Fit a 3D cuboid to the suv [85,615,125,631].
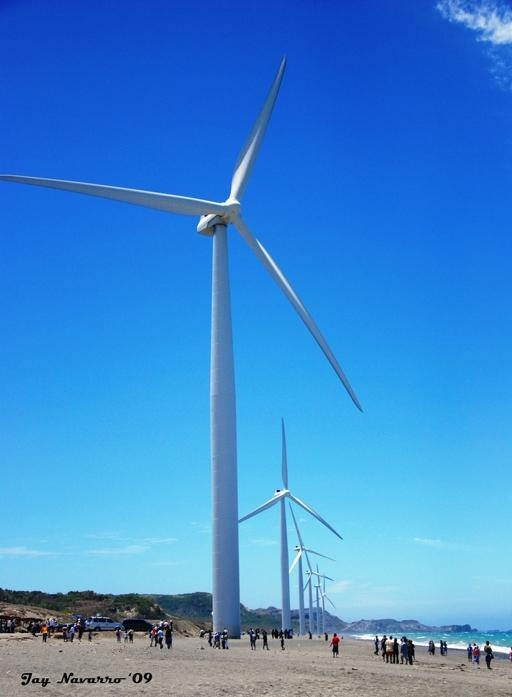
[{"bbox_3d":[-11.558,21.008,59.256,2.810,1.009,3.595,1,-18,-8],"label":"suv"}]
